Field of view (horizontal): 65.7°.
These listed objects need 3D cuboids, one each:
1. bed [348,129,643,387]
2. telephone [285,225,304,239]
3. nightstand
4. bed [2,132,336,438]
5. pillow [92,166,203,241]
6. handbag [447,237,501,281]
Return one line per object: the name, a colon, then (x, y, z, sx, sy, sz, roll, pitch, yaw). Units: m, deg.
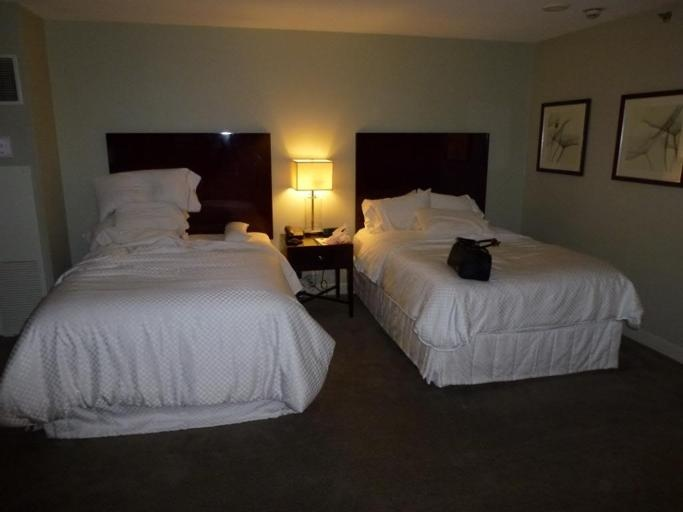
bed: (1.223, -0.173, 4.901, 1.984, 1.815, 2.197, -3, 15, -13)
telephone: (-0.467, -0.237, 5.233, 0.117, 0.050, 0.162, -1, 22, -11)
nightstand: (-0.163, 0.181, 5.345, 0.689, 0.659, 0.657, -3, 6, -11)
bed: (-1.337, 0.346, 4.590, 1.943, 1.740, 2.589, -2, 21, -9)
pillow: (-1.753, -0.465, 4.723, 0.775, 0.746, 0.235, -6, -13, -20)
handbag: (1.012, 0.021, 4.123, 0.304, 0.252, 0.355, 1, 15, 1)
